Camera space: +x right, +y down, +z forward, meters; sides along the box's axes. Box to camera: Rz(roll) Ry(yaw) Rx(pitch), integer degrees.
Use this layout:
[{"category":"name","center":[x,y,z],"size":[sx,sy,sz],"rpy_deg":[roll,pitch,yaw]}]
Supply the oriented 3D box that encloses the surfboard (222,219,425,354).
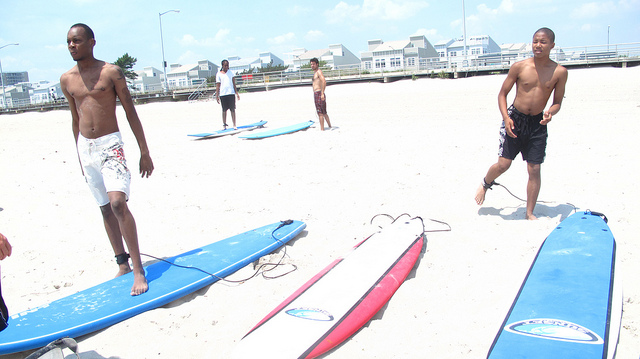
[{"category":"surfboard","center":[0.280,1.476,6.334],"size":[1.003,0.433,3.390],"rpy_deg":[30,43,31]}]

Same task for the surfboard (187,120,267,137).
[{"category":"surfboard","center":[-2.622,-1.457,14.222],"size":[0.509,0.257,2.404],"rpy_deg":[2,14,31]}]

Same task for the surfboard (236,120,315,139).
[{"category":"surfboard","center":[-1.113,-1.295,12.850],"size":[0.399,0.237,2.241],"rpy_deg":[13,22,41]}]

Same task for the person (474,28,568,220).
[{"category":"person","center":[3.064,-0.892,7.535],"size":[1.135,2.708,1.050],"rpy_deg":[1,20,22]}]
